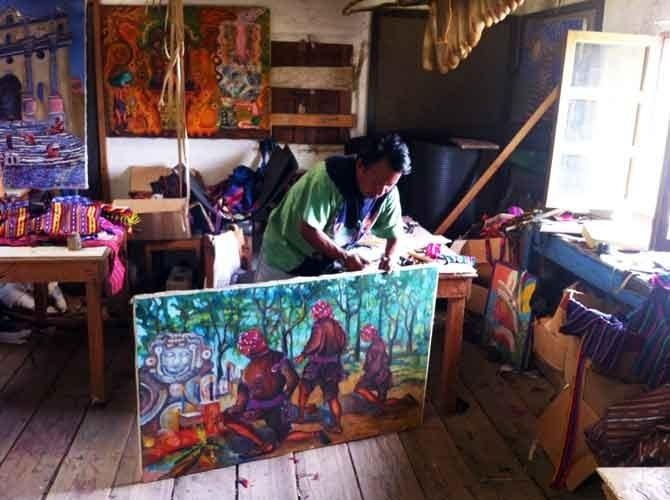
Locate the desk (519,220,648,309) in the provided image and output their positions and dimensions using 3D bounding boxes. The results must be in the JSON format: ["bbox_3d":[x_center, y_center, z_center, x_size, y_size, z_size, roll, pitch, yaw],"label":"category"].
[{"bbox_3d":[1.784,0.092,3.734,0.498,0.295,0.777,-3,34,-20],"label":"desk"}]

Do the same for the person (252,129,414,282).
[{"bbox_3d":[-0.034,-0.237,3.268,0.936,0.947,0.475,-1,15,2],"label":"person"}]

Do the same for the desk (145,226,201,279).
[{"bbox_3d":[-1.573,0.031,5.122,0.399,0.357,0.449,-2,5,-12],"label":"desk"}]
